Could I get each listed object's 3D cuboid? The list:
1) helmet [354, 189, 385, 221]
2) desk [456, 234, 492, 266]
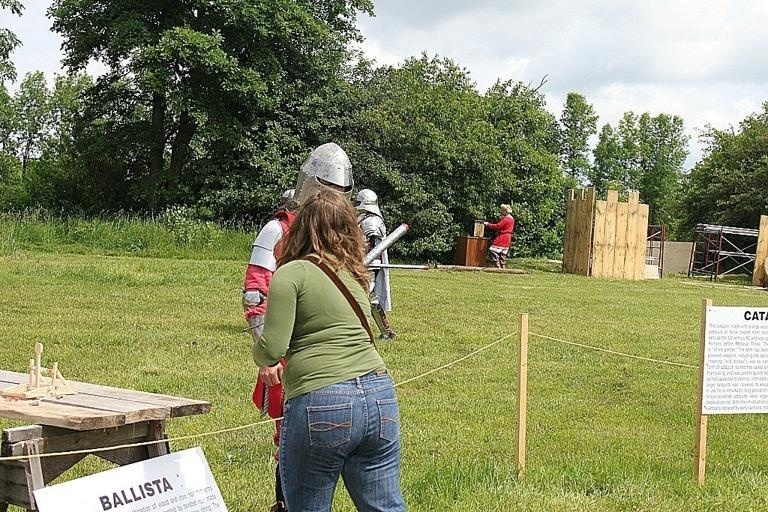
[{"bbox_3d":[-0.322,-0.859,13.205,0.462,0.380,0.464,13,9,42],"label":"helmet"},{"bbox_3d":[2.965,-0.149,27.217,0.875,1.495,1.505,1,1,42],"label":"desk"}]
